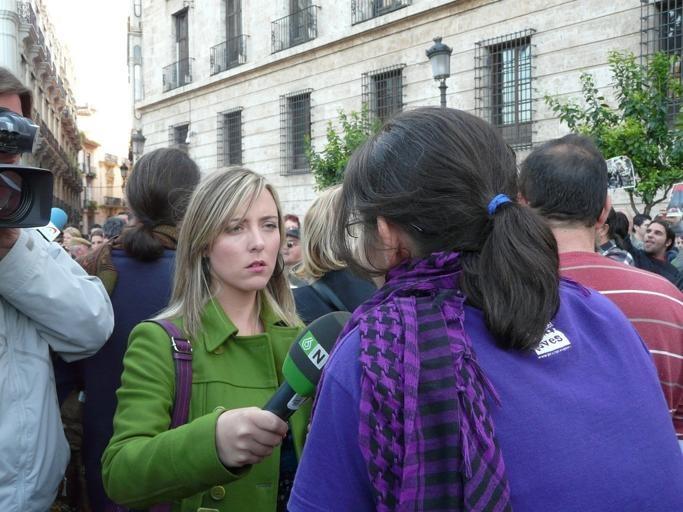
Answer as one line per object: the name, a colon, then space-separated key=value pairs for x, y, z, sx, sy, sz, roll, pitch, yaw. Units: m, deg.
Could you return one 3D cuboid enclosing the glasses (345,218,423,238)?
glasses: x=0.126 y=-0.095 z=2.227 sx=0.145 sy=0.048 sz=0.116 roll=7 pitch=-7 yaw=-38
